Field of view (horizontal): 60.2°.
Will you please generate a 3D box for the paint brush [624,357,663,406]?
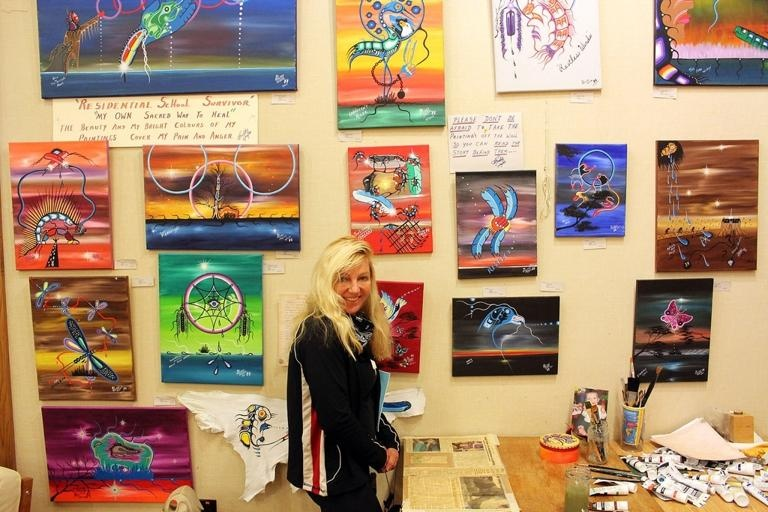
[{"bbox_3d":[1.397,0.686,3.559,0.207,0.259,0.197,-1,9,16],"label":"paint brush"}]
